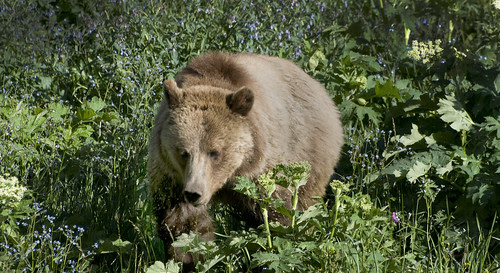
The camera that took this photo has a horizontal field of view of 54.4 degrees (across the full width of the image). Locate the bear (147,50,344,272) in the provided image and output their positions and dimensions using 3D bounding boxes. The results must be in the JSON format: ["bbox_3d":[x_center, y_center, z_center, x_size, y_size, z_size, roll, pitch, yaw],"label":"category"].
[{"bbox_3d":[-0.115,0.244,7.096,2.618,2.961,0.916,1,-5,-21],"label":"bear"}]
